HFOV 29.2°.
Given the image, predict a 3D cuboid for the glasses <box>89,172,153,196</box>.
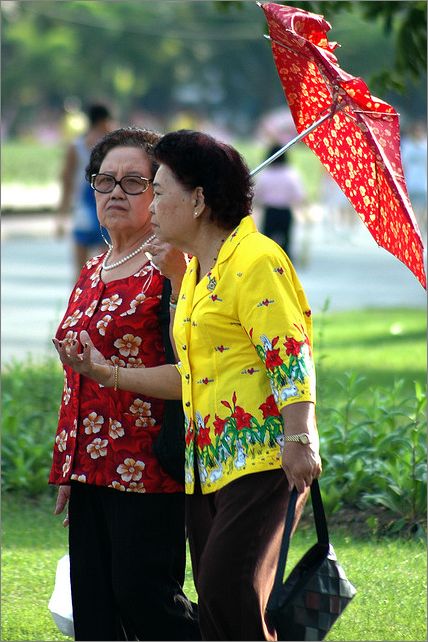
[{"bbox_3d":[-0.295,-0.453,2.733,0.141,0.035,0.126,0,-5,7],"label":"glasses"}]
